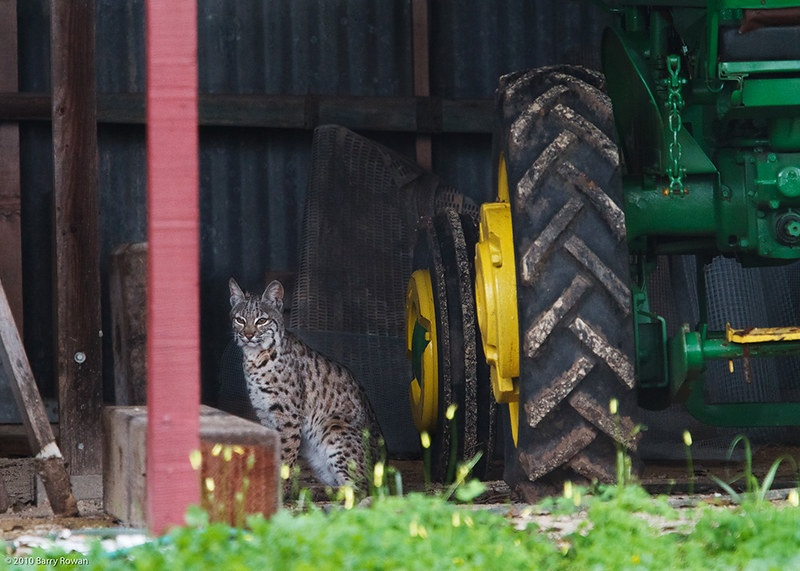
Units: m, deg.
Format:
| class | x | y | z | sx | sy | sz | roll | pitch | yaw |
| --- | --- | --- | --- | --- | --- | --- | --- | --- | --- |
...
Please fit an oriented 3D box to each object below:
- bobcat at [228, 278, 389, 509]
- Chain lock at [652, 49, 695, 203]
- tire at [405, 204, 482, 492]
| class | x | y | z | sx | sy | sz | roll | pitch | yaw |
| --- | --- | --- | --- | --- | --- | --- | --- | --- | --- |
| bobcat | -0.569 | 0.576 | 8.126 | 0.867 | 1.059 | 0.625 | -3 | -1 | -8 |
| Chain lock | 1.327 | -0.763 | 6.567 | 0.118 | 0.636 | 0.422 | -3 | -1 | 12 |
| tire | 0.227 | 0.322 | 7.467 | 0.263 | 1.272 | 0.782 | -2 | -1 | -13 |
